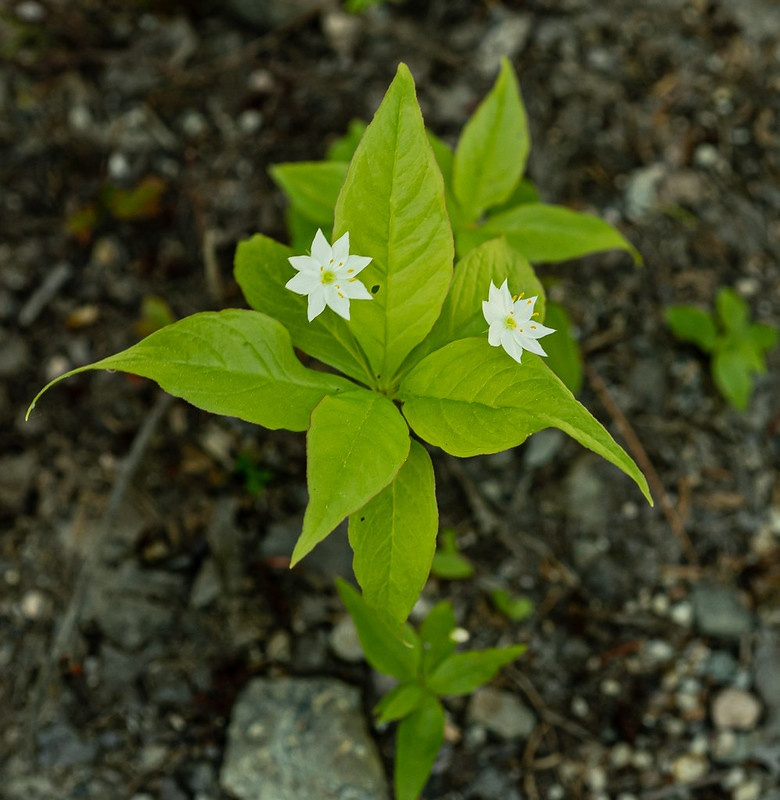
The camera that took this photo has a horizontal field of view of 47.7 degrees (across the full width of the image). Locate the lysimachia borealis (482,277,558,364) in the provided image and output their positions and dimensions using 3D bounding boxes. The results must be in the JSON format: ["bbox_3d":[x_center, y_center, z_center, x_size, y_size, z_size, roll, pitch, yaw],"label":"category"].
[{"bbox_3d":[0.473,-0.327,3.410,0.097,0.341,0.304,-43,114,-11],"label":"lysimachia borealis"}]

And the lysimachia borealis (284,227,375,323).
[{"bbox_3d":[-0.237,-0.469,3.357,0.317,0.182,0.330,-2,81,-1],"label":"lysimachia borealis"}]
